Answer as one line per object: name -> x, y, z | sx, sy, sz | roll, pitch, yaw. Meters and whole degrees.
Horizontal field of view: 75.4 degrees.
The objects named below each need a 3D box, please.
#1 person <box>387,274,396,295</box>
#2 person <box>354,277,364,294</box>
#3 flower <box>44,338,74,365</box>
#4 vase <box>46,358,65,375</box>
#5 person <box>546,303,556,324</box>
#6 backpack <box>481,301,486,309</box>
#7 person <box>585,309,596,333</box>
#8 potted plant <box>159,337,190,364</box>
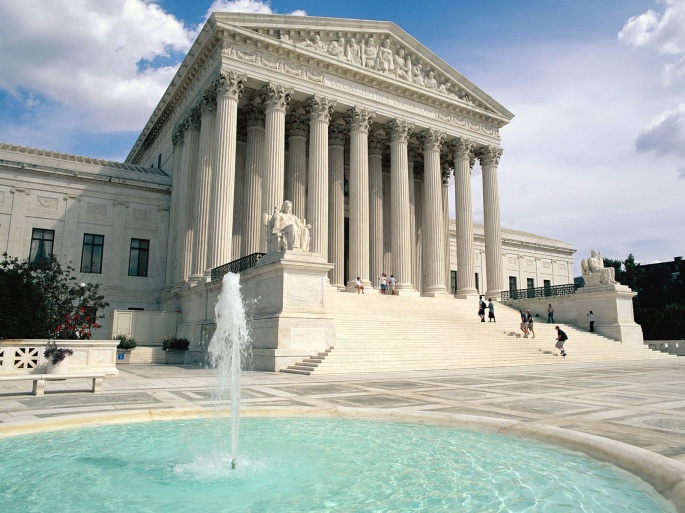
person -> 3.869, 2.040, 33.349 | 0.543, 1.523, 1.575 | -1, -8, 8
person -> 1.219, 1.882, 30.752 | 0.633, 1.173, 0.683 | 0, -8, 5
flower -> -7.290, 2.452, 11.472 | 0.602, 0.415, 0.601 | 5, -6, 26
vase -> -7.328, 2.799, 11.350 | 0.369, 0.372, 0.407 | 2, -26, -2
person -> 15.250, 4.052, 32.292 | 0.536, 1.430, 1.501 | -3, -9, 24
backpack -> 9.117, 3.076, 28.599 | 0.335, 0.232, 0.446 | -26, 23, 30
person -> 16.982, 4.308, 30.113 | 0.475, 1.543, 0.989 | -4, -10, 31
potted plant -> -9.717, 5.451, 25.880 | 1.651, 1.592, 1.347 | 7, -15, -26
